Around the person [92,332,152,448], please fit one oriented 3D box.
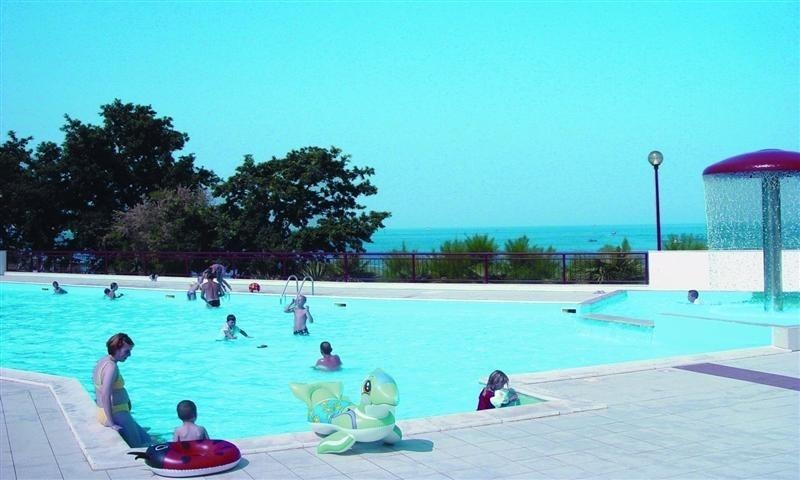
[{"bbox_3d":[-5.055,2.783,12.397,0.802,2.062,0.841,-8,14,-25],"label":"person"}]
